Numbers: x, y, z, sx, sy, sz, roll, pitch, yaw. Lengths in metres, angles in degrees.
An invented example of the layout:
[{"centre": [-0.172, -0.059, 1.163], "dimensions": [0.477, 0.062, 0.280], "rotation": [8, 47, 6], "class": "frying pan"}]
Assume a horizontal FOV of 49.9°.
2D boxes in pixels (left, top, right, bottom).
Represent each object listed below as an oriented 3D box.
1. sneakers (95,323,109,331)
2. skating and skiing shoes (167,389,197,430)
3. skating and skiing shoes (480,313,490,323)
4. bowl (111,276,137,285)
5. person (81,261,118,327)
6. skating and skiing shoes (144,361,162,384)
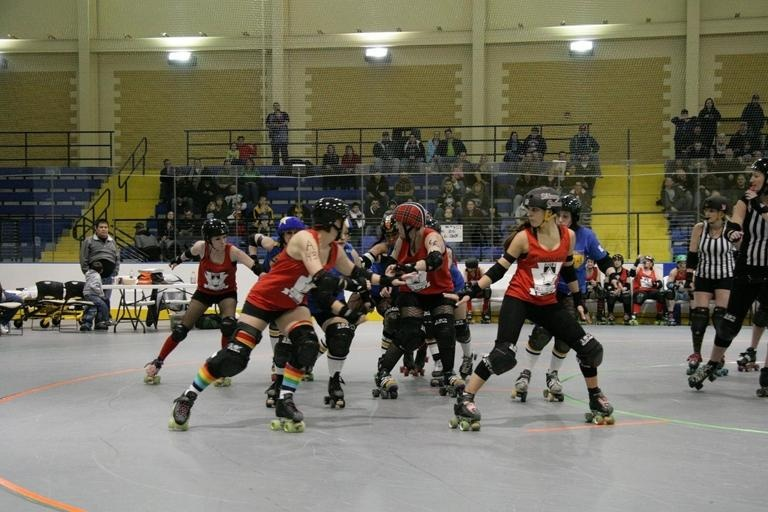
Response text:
[{"centre": [-6.468, 1.596, 18.988], "dimensions": [0.296, 0.129, 0.131], "rotation": [-1, 3, 15], "class": "sneakers"}, {"centre": [-2.422, 1.907, 10.051], "dimensions": [0.292, 0.617, 0.214], "rotation": [-28, -44, 26], "class": "skating and skiing shoes"}, {"centre": [2.490, 1.542, 20.464], "dimensions": [0.183, 0.181, 0.179], "rotation": [-3, -9, 8], "class": "skating and skiing shoes"}, {"centre": [-5.844, 0.542, 18.702], "dimensions": [0.360, 0.166, 0.889], "rotation": [1, -1, -31], "class": "bowl"}, {"centre": [-6.621, 0.877, 18.858], "dimensions": [0.569, 1.461, 0.754], "rotation": [5, 4, 14], "class": "person"}, {"centre": [-3.429, 1.729, 12.282], "dimensions": [0.210, 0.298, 0.215], "rotation": [-13, 31, -35], "class": "skating and skiing shoes"}]
